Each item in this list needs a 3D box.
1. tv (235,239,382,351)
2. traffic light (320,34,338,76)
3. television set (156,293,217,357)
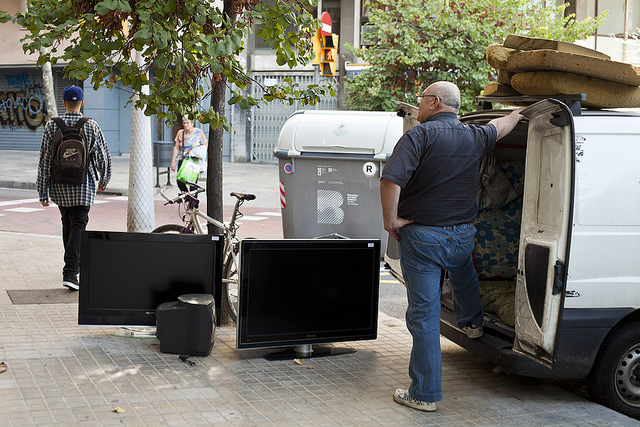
[{"bbox_3d":[-0.139,0.818,6.397,1.247,0.833,0.121,1,4,-13],"label":"tv"},{"bbox_3d":[0.281,-5.494,21.576,0.580,1.331,0.447,13,12,41],"label":"traffic light"},{"bbox_3d":[-1.356,1.136,6.542,0.611,0.528,0.620,0,3,-6],"label":"television set"}]
